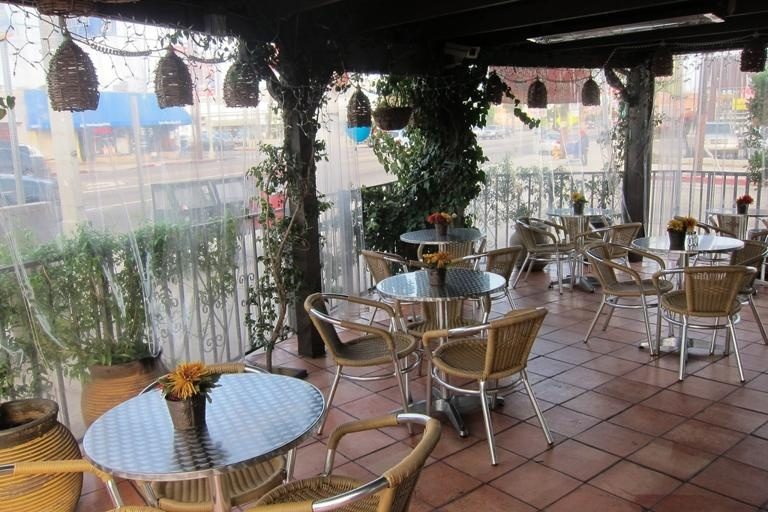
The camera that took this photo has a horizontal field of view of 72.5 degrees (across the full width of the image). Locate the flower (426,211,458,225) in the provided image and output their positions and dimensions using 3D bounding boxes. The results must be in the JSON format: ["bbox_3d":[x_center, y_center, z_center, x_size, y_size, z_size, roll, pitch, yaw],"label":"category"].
[{"bbox_3d":[0.648,-0.433,6.058,0.299,0.183,0.295,0,5,-2],"label":"flower"}]

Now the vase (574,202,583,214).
[{"bbox_3d":[2.715,-0.688,7.327,0.160,0.154,0.145,0,5,14],"label":"vase"}]

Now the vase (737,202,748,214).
[{"bbox_3d":[4.942,-0.667,7.186,0.144,0.144,0.132,-5,11,-24],"label":"vase"}]

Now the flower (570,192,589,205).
[{"bbox_3d":[2.738,-0.819,7.371,0.161,0.132,0.208,0,12,13],"label":"flower"}]
